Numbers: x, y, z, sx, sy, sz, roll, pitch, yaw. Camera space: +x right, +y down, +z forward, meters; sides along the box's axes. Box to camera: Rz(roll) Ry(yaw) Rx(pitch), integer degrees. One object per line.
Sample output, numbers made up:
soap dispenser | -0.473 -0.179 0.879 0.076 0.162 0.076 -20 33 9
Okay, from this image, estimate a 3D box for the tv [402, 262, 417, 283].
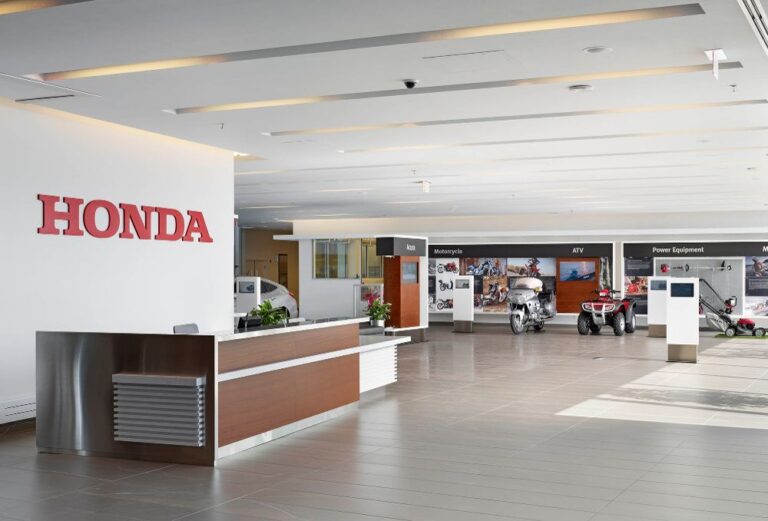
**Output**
tv | 0.706 0.345 15.402 0.077 0.402 0.714 -5 -6 32
